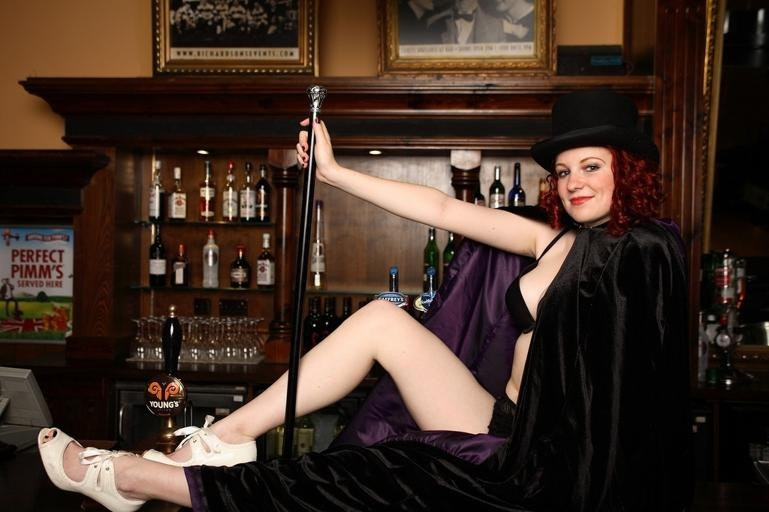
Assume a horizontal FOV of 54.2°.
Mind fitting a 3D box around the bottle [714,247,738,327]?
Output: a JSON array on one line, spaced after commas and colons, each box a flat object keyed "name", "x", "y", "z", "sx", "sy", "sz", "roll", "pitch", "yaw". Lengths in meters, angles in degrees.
[{"name": "bottle", "x": 1.933, "y": 0.194, "z": 4.270, "sx": 0.138, "sy": 0.423, "sz": 0.083, "roll": 0, "pitch": -5, "yaw": 1}]

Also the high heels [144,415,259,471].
[{"name": "high heels", "x": -0.720, "y": 0.797, "z": 3.197, "sx": 0.548, "sy": 0.232, "sz": 0.179, "roll": 4, "pitch": -9, "yaw": -6}]

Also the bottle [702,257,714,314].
[{"name": "bottle", "x": 1.846, "y": 0.148, "z": 4.294, "sx": 0.083, "sy": 0.316, "sz": 0.038, "roll": -5, "pitch": -7, "yaw": 41}]
